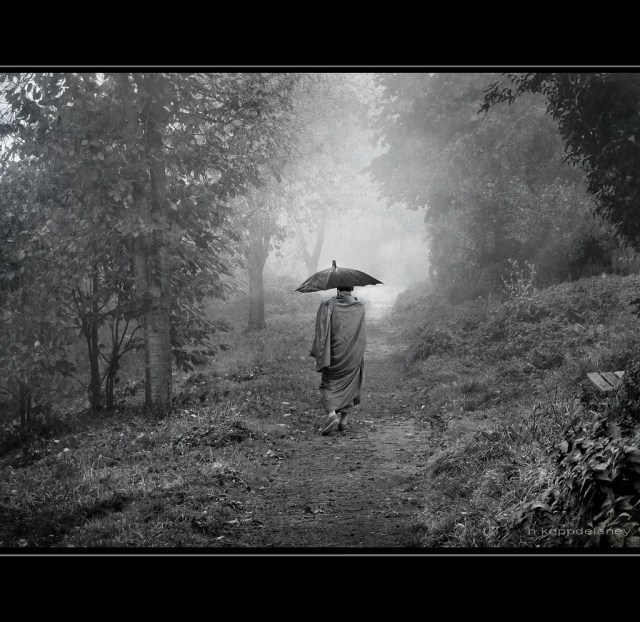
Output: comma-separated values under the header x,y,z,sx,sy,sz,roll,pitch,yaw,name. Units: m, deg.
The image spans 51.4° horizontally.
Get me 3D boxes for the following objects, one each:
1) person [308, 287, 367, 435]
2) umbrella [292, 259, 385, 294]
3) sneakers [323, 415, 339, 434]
x,y,z,sx,sy,sz,roll,pitch,yaw,name
0.184,0.501,6.648,0.566,1.419,0.332,-1,-3,1,person
0.178,-0.354,6.571,0.811,0.312,0.249,-2,-3,0,umbrella
0.103,1.127,6.502,0.088,0.252,0.099,13,17,-30,sneakers
